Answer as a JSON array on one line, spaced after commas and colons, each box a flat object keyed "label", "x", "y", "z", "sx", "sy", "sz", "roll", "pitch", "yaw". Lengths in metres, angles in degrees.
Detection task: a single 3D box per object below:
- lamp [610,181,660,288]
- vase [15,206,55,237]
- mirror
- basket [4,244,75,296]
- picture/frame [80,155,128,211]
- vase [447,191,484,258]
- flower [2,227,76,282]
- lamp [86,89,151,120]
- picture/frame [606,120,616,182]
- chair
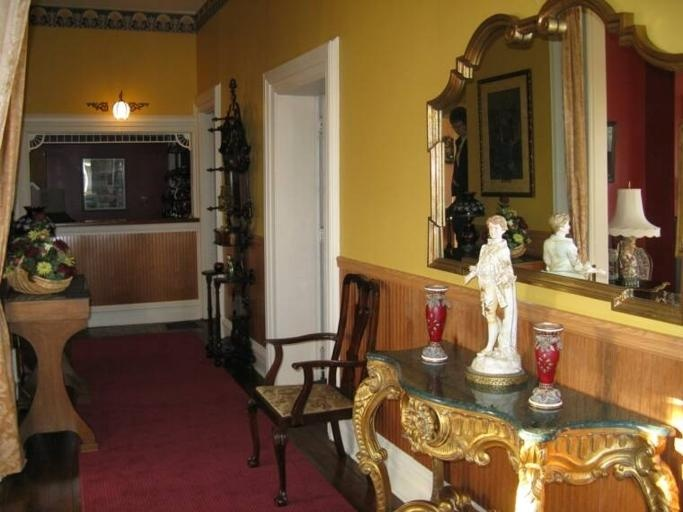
[{"label": "lamp", "x": 1.092, "y": -0.069, "z": 2.154, "sx": 0.054, "sy": 0.382, "sz": 0.194, "roll": -4, "pitch": 7, "yaw": -29}, {"label": "vase", "x": -2.749, "y": -0.305, "z": 5.140, "sx": 0.327, "sy": 0.251, "sz": 0.356, "roll": -3, "pitch": -1, "yaw": 20}, {"label": "mirror", "x": 0.904, "y": -0.383, "z": 2.415, "sx": 0.051, "sy": 1.203, "sz": 1.523, "roll": 0, "pitch": 2, "yaw": -19}, {"label": "basket", "x": -2.309, "y": 0.128, "z": 4.347, "sx": 0.391, "sy": 0.186, "sz": 0.379, "roll": 18, "pitch": 21, "yaw": 37}, {"label": "picture/frame", "x": -4.611, "y": -1.425, "z": 11.085, "sx": 0.883, "sy": 1.274, "sz": 0.089, "roll": 1, "pitch": 2, "yaw": -15}, {"label": "vase", "x": 0.634, "y": -0.159, "z": 2.957, "sx": 0.168, "sy": 0.324, "sz": 0.190, "roll": -2, "pitch": 8, "yaw": 5}, {"label": "flower", "x": -2.243, "y": -0.019, "z": 4.367, "sx": 0.374, "sy": 0.318, "sz": 0.441, "roll": 29, "pitch": 23, "yaw": 18}, {"label": "lamp", "x": -2.879, "y": -1.922, "z": 7.387, "sx": 0.768, "sy": 0.366, "sz": 0.364, "roll": -3, "pitch": 8, "yaw": -18}, {"label": "picture/frame", "x": 1.028, "y": -0.396, "z": 2.212, "sx": 0.040, "sy": 0.231, "sz": 0.021, "roll": 5, "pitch": 8, "yaw": 42}, {"label": "chair", "x": -0.188, "y": 0.788, "z": 3.982, "sx": 0.881, "sy": 1.364, "sz": 1.185, "roll": 0, "pitch": 7, "yaw": 3}]
